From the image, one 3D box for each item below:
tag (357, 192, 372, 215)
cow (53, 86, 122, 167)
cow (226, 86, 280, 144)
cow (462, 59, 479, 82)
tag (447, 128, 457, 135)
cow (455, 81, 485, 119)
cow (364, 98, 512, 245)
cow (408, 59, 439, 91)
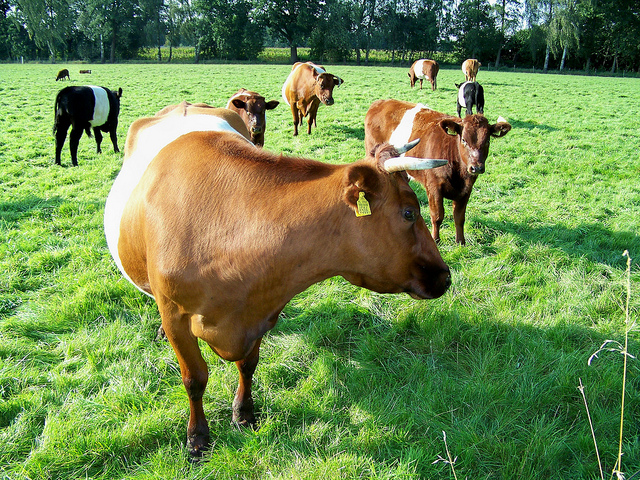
[{"bbox_3d":[0.388,-0.334,5.240,0.125,0.197,0.042,1,11,-4],"label":"tag"},{"bbox_3d":[-5.064,-2.706,13.062,0.591,1.608,2.827,5,15,8],"label":"cow"},{"bbox_3d":[-1.616,-2.639,13.411,0.821,1.533,2.734,-2,18,-13],"label":"cow"},{"bbox_3d":[7.506,-8.742,29.375,0.610,1.242,2.175,1,25,11],"label":"cow"},{"bbox_3d":[2.041,-1.731,9.114,0.124,0.055,0.149,0,16,-33],"label":"tag"},{"bbox_3d":[4.743,-4.584,18.931,0.565,1.316,2.326,-6,17,0],"label":"cow"},{"bbox_3d":[1.746,-1.171,9.894,0.994,2.225,3.775,-7,19,-18],"label":"cow"},{"bbox_3d":[4.889,-8.206,28.901,0.738,1.526,2.506,-11,15,-28],"label":"cow"}]
